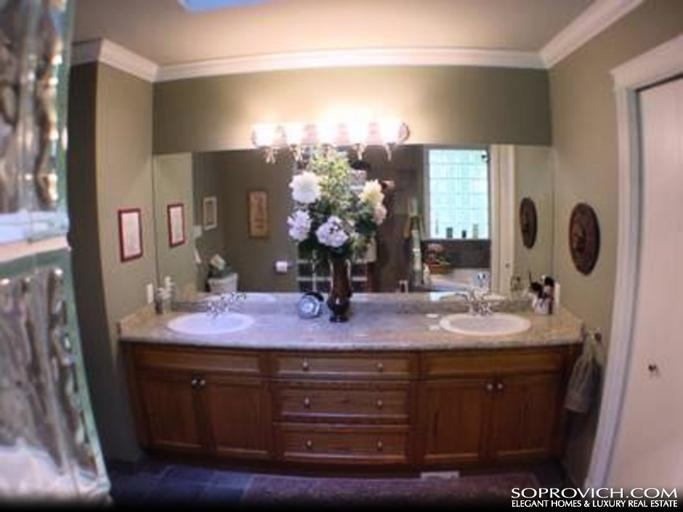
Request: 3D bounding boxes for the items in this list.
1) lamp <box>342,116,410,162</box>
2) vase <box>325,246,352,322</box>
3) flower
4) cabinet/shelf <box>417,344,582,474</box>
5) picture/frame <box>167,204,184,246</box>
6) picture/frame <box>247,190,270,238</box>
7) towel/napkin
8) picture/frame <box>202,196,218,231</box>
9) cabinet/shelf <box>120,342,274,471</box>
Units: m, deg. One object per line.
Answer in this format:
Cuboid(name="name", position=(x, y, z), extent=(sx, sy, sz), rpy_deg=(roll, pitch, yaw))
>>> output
Cuboid(name="lamp", position=(0.175, -0.555, 2.459), extent=(0.288, 0.197, 0.071), rpy_deg=(-1, -6, 14))
Cuboid(name="vase", position=(-0.007, 0.133, 2.478), extent=(0.115, 0.351, 0.089), rpy_deg=(-1, 10, 0))
Cuboid(name="flower", position=(-0.017, -0.274, 2.466), extent=(0.426, 0.473, 0.324), rpy_deg=(4, 4, 2))
Cuboid(name="cabinet/shelf", position=(0.629, 0.616, 2.308), extent=(0.672, 0.588, 0.353), rpy_deg=(-2, 17, -1))
Cuboid(name="picture/frame", position=(-0.844, -0.161, 2.636), extent=(0.091, 0.221, 0.020), rpy_deg=(-9, -11, 11))
Cuboid(name="picture/frame", position=(-0.403, -0.204, 2.509), extent=(0.091, 0.237, 0.019), rpy_deg=(-2, -12, -6))
Cuboid(name="towel/napkin", position=(0.991, 0.468, 2.063), extent=(0.114, 0.332, 0.167), rpy_deg=(8, 14, 41))
Cuboid(name="picture/frame", position=(-0.660, -0.216, 2.557), extent=(0.012, 0.166, 0.089), rpy_deg=(13, 20, 30))
Cuboid(name="cabinet/shelf", position=(-0.672, 0.741, 2.380), extent=(0.659, 0.353, 0.561), rpy_deg=(14, 36, -34))
